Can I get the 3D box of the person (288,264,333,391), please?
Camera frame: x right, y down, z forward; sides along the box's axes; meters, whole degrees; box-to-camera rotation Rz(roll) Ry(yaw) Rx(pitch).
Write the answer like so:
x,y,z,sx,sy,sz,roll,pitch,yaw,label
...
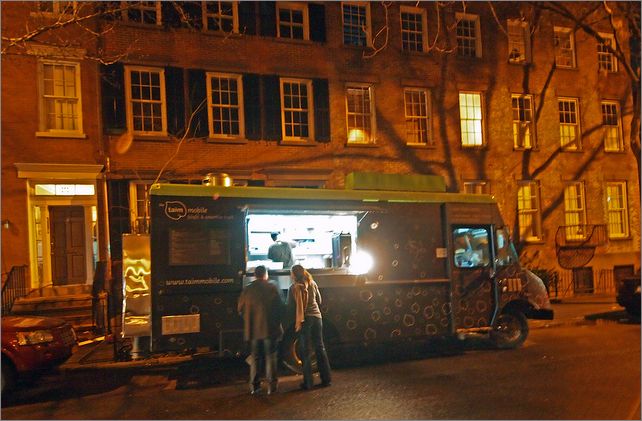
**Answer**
x,y,z,sx,sy,sz,roll,pitch,yaw,label
-0.353,3.486,21.280,1.168,3.523,1.398,-4,15,-5,person
